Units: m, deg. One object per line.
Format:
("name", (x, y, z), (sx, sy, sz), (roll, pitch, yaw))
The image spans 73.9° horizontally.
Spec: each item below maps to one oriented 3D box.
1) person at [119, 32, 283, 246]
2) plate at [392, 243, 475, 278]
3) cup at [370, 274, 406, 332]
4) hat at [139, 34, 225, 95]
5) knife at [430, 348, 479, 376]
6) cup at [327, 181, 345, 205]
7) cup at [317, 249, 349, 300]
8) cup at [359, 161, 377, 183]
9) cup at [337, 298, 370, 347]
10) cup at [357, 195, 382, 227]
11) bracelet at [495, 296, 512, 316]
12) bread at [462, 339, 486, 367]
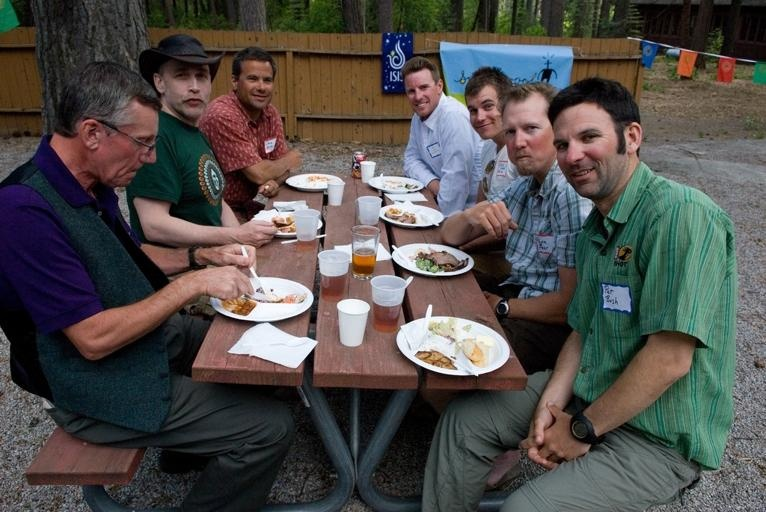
("person", (-1.257, -0.764, 3.666), (1.045, 1.491, 1.091), (0, 12, -9))
("plate", (0.300, 0.033, 3.137), (0.471, 0.069, 0.463), (-4, 30, -20))
("cup", (0.015, 0.213, 2.560), (0.253, 0.307, 0.239), (2, 12, 0))
("hat", (-1.560, -1.407, 3.695), (0.611, 0.290, 0.674), (-22, 6, -32))
("knife", (0.354, 0.490, 2.365), (0.056, 0.024, 0.201), (-50, 34, -8))
("cup", (-0.396, -0.501, 4.064), (0.167, 0.174, 0.172), (1, 7, 0))
("cup", (-0.251, 0.093, 2.696), (0.226, 0.240, 0.228), (1, 12, 0))
("cup", (-0.130, -0.791, 4.803), (0.179, 0.193, 0.188), (0, 9, 0))
("cup", (-0.148, 0.308, 2.448), (0.197, 0.201, 0.199), (1, 10, 0))
("cup", (-0.125, -0.319, 3.631), (0.199, 0.170, 0.172), (10, 20, 28))
("bracelet", (0.721, 0.309, 3.136), (0.069, 0.115, 0.107), (14, -18, 18))
("bread", (0.415, 0.448, 2.386), (0.100, 0.046, 0.118), (-9, 61, -26))
